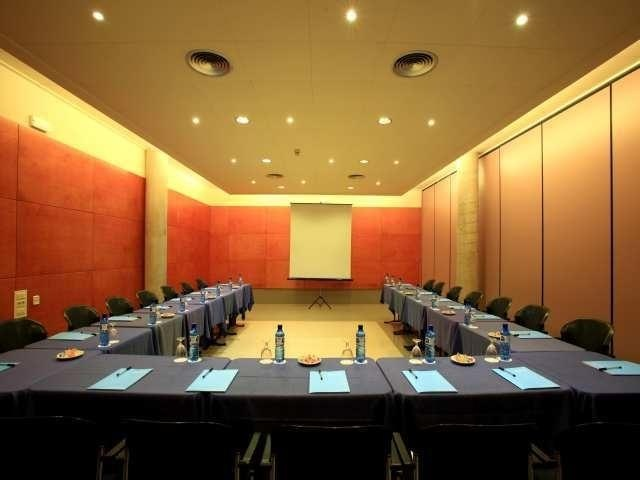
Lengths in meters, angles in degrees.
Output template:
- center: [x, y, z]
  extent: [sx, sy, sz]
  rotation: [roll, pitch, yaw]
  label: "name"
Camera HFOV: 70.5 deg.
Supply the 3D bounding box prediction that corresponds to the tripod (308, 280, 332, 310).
- center: [0.006, 1.538, 12.228]
  extent: [0.518, 0.697, 0.515]
  rotation: [1, -13, -1]
  label: "tripod"
